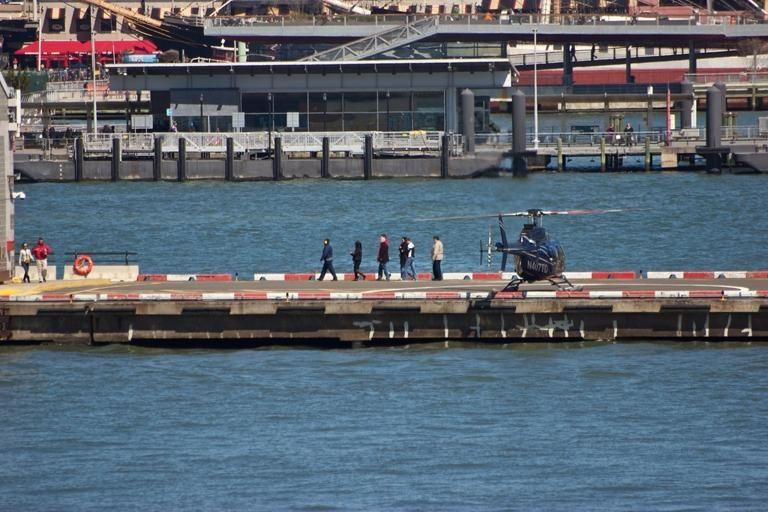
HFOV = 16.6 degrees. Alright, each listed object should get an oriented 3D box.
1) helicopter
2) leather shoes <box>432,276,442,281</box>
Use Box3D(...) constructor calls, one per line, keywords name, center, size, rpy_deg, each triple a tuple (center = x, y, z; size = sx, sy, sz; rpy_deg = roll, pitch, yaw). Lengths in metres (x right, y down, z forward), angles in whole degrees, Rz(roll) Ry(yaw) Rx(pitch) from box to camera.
Box3D(name="helicopter", center=(10.926, -0.230, 174.469), size=(8.425, 3.234, 8.698), rpy_deg=(3, 6, 39))
Box3D(name="leather shoes", center=(3.655, 1.505, 176.442), size=(0.667, 0.236, 0.197), rpy_deg=(5, 8, 6))
